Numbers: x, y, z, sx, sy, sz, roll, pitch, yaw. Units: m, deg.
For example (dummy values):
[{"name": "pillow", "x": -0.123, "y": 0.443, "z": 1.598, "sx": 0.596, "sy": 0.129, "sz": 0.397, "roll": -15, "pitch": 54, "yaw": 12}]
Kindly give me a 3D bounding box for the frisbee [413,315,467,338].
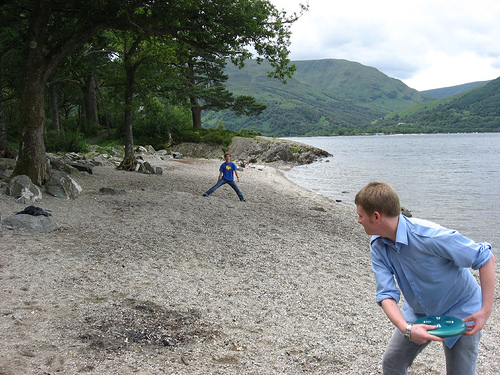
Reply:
[{"name": "frisbee", "x": 2.772, "y": 2.021, "z": 7.572, "sx": 0.687, "sy": 0.266, "sz": 0.350, "roll": 8, "pitch": 8, "yaw": 27}]
